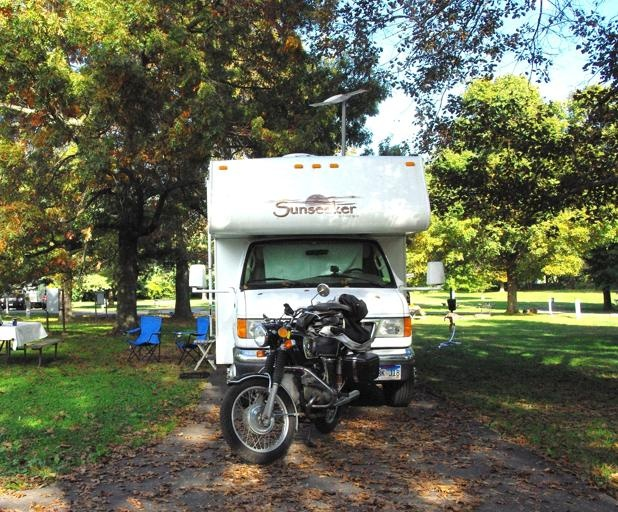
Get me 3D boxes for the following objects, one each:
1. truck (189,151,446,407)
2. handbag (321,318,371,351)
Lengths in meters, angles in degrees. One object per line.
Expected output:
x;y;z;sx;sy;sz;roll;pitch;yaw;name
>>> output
-0.040;0.239;10.391;3.301;3.581;5.918;-1;3;-6;truck
0.446;0.973;6.926;0.520;0.208;0.343;13;9;-6;handbag
